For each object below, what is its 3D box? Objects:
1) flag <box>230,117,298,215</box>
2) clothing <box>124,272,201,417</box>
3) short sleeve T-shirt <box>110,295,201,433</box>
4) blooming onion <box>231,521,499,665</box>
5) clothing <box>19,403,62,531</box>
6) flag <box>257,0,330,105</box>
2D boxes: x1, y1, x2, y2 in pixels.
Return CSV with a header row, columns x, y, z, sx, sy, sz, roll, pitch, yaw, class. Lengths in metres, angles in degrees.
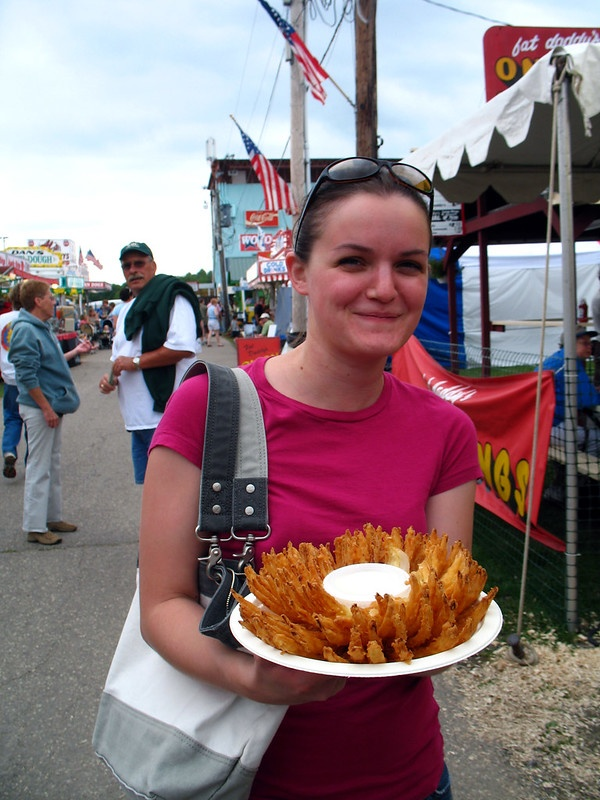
x,y,z,sx,sy,sz,roll,pitch,yaw,class
-0.959,-5.104,13.871,0.306,2.788,0.600,-34,-6,27,flag
-1.021,-0.365,4.774,0.388,1.011,0.739,4,-9,-42,clothing
-1.117,-0.292,4.937,0.586,1.007,0.923,-3,-3,-41,short sleeve T-shirt
0.091,0.296,0.964,0.253,0.094,0.240,0,1,-9,blooming onion
-2.173,0.598,5.483,0.324,1.089,0.393,-4,9,-13,clothing
-0.051,-5.462,10.588,0.850,1.678,1.786,-3,8,-7,flag
